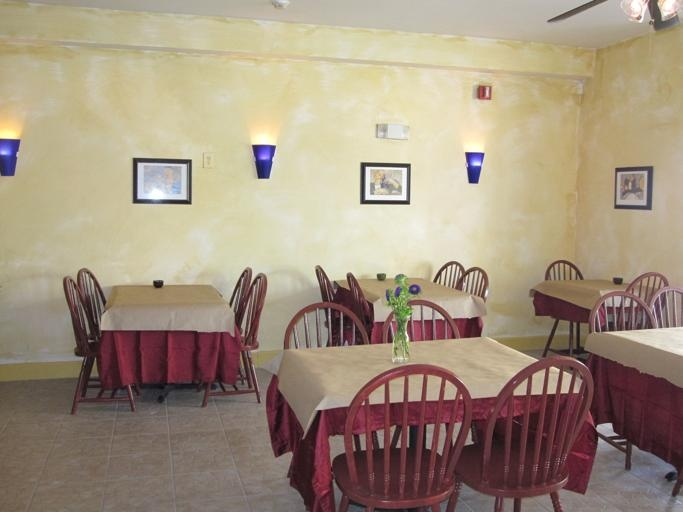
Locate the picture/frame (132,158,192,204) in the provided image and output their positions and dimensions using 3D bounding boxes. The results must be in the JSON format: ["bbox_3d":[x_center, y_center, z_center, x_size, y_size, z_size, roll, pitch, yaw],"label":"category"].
[{"bbox_3d":[-1.814,-0.759,5.284,0.436,0.386,0.036,0,5,-14],"label":"picture/frame"}]

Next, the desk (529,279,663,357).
[{"bbox_3d":[2.628,0.336,5.534,0.787,0.844,1.186,-2,4,-15],"label":"desk"}]

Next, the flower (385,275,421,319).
[{"bbox_3d":[0.342,0.227,2.948,0.223,0.169,0.304,-4,5,0],"label":"flower"}]

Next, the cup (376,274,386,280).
[{"bbox_3d":[0.409,0.220,5.586,0.070,0.053,0.070,0,0,0],"label":"cup"}]

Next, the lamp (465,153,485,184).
[{"bbox_3d":[1.498,-1.005,6.018,0.184,0.353,0.084,-1,9,-8],"label":"lamp"}]

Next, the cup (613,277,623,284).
[{"bbox_3d":[2.840,0.255,5.461,0.080,0.058,0.083,0,1,0],"label":"cup"}]

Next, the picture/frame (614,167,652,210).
[{"bbox_3d":[3.088,-0.745,5.667,0.426,0.443,0.019,-1,3,-11],"label":"picture/frame"}]

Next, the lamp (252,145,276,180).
[{"bbox_3d":[-0.792,-0.962,5.426,0.289,0.358,0.294,-1,7,-18],"label":"lamp"}]

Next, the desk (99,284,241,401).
[{"bbox_3d":[-1.485,0.690,4.697,0.862,0.511,0.900,0,2,-18],"label":"desk"}]

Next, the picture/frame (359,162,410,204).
[{"bbox_3d":[0.446,-0.821,5.818,0.440,0.388,0.034,-1,4,-9],"label":"picture/frame"}]

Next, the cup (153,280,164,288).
[{"bbox_3d":[-1.751,0.266,5.082,0.078,0.053,0.080,2,-1,0],"label":"cup"}]
